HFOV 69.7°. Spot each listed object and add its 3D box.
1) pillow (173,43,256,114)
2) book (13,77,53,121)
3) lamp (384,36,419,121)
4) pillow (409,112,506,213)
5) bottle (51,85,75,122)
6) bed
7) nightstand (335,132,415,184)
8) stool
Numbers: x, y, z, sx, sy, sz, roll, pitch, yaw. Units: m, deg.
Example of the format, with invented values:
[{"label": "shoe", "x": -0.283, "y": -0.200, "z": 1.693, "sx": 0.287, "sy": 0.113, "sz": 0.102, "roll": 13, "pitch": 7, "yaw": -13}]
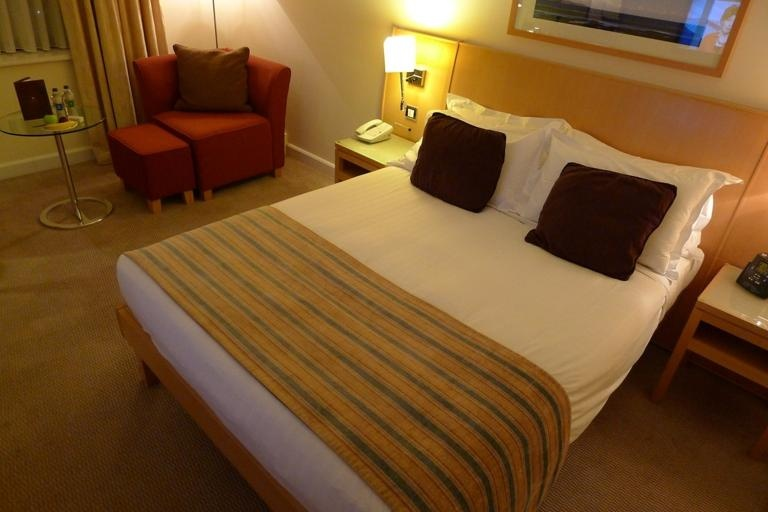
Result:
[{"label": "pillow", "x": -1.577, "y": -1.609, "z": 5.108, "sx": 0.643, "sy": 0.587, "sz": 0.245, "roll": 0, "pitch": 11, "yaw": -8}, {"label": "book", "x": -2.789, "y": -1.246, "z": 4.433, "sx": 0.217, "sy": 0.321, "sz": 0.175, "roll": 3, "pitch": 32, "yaw": -8}, {"label": "lamp", "x": 0.126, "y": -1.537, "z": 4.687, "sx": 0.257, "sy": 0.635, "sz": 0.261, "roll": 17, "pitch": 33, "yaw": 14}, {"label": "pillow", "x": 0.589, "y": -0.618, "z": 4.122, "sx": 0.677, "sy": 0.670, "sz": 0.279, "roll": 30, "pitch": 13, "yaw": 23}, {"label": "bottle", "x": -2.620, "y": -1.259, "z": 4.513, "sx": 0.133, "sy": 0.236, "sz": 0.284, "roll": 1, "pitch": 33, "yaw": -11}, {"label": "bed", "x": 0.174, "y": 0.355, "z": 3.527, "sx": 2.774, "sy": 0.773, "sz": 2.299, "roll": -19, "pitch": 43, "yaw": -37}, {"label": "nightstand", "x": -0.104, "y": -0.894, "z": 4.850, "sx": 0.391, "sy": 0.467, "sz": 0.712, "roll": -28, "pitch": 46, "yaw": -31}, {"label": "stool", "x": -1.993, "y": -0.761, "z": 4.806, "sx": 0.371, "sy": 0.428, "sz": 0.605, "roll": -30, "pitch": 49, "yaw": -34}]
